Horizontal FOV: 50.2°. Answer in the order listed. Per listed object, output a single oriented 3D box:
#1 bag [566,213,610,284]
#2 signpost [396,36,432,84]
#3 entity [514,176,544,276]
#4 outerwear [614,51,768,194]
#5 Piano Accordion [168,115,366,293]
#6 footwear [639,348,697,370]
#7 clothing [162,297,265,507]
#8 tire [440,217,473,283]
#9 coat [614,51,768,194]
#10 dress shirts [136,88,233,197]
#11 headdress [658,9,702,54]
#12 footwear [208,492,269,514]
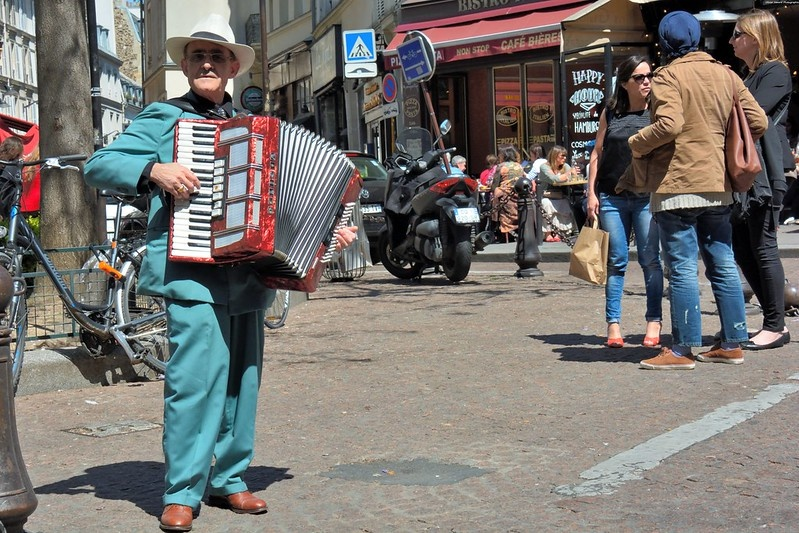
[{"bbox_3d":[1.636,-0.121,7.390,0.339,0.552,0.277,-2,6,11],"label":"bag"},{"bbox_3d":[0.289,-3.495,14.257,0.367,0.834,0.689,-6,7,-25],"label":"signpost"},{"bbox_3d":[1.926,-0.594,12.890,0.383,1.438,0.857,-3,6,8],"label":"entity"},{"bbox_3d":[2.082,-1.063,6.745,1.321,1.171,1.066,-3,13,-18],"label":"outerwear"},{"bbox_3d":[-0.656,-0.333,4.154,0.336,0.818,0.880,10,25,23],"label":"Piano Accordion"},{"bbox_3d":[2.073,0.720,6.641,0.448,0.161,0.154,2,-1,3],"label":"footwear"},{"bbox_3d":[-0.951,0.678,4.365,0.247,1.051,0.623,2,8,41],"label":"clothing"},{"bbox_3d":[0.820,-0.209,11.772,0.429,0.935,0.739,-4,6,-9],"label":"tire"},{"bbox_3d":[2.061,-1.064,6.747,1.321,1.171,1.066,-3,13,-18],"label":"coat"},{"bbox_3d":[-1.044,-0.649,4.282,0.471,0.549,0.153,9,-13,9],"label":"dress shirts"},{"bbox_3d":[2.188,-1.855,6.754,0.309,0.321,0.398,0,21,8],"label":"headdress"},{"bbox_3d":[-0.821,1.188,4.398,0.294,0.127,0.112,0,-1,34],"label":"footwear"}]
